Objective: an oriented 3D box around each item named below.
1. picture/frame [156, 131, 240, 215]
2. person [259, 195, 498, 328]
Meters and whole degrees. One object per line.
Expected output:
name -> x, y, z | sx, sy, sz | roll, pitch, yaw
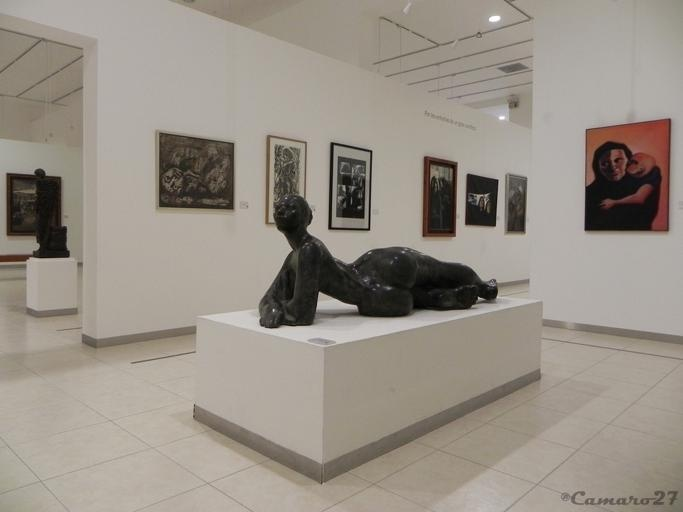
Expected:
picture/frame -> -2.455, -1.388, 8.080 | 1.232, 1.336, 0.090 | -5, 8, -40
person -> 0.466, 0.002, 5.108 | 2.581, 1.371, 0.791 | -2, 2, -13
